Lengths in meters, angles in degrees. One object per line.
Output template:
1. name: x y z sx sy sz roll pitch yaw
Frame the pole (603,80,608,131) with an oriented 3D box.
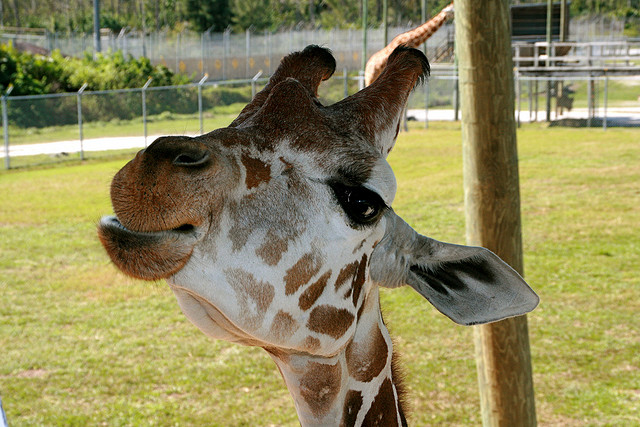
1. pole: 4.774 -1.784 19.487 0.075 0.802 0.241 2 -1 14

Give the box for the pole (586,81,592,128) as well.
1. pole: 4.507 -1.813 19.508 0.098 0.744 0.291 2 -1 13

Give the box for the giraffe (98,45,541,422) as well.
1. giraffe: -0.584 0.889 19.193 6.849 7.598 4.220 2 -18 -39
